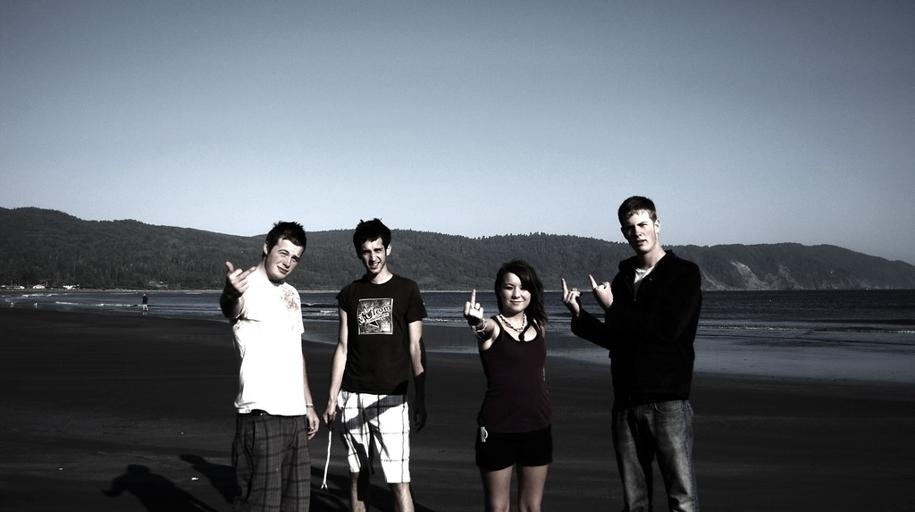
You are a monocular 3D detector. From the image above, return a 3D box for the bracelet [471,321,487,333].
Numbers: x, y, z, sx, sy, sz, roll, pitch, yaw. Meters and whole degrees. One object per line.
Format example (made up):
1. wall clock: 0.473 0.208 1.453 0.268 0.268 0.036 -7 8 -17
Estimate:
1. bracelet: 0.315 0.962 8.324 0.158 0.102 0.196 8 -10 -36
